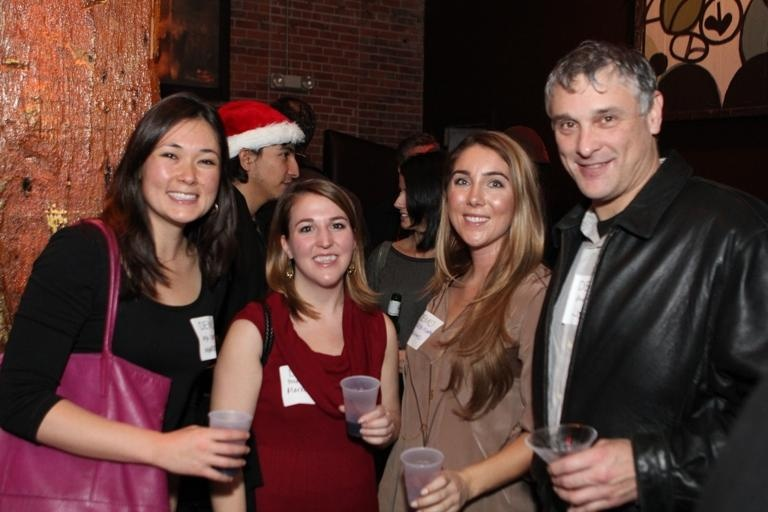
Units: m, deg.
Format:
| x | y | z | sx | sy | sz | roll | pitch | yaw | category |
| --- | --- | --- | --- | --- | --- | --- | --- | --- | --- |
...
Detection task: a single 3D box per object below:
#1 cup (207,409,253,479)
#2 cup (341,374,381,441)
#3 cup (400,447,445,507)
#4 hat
| x | y | z | sx | sy | sz | roll | pitch | yaw | category |
| --- | --- | --- | --- | --- | --- | --- | --- | --- | --- |
| -0.550 | 0.693 | 2.307 | 0.196 | 0.221 | 0.199 | 4 | -3 | 0 | cup |
| -0.128 | 0.614 | 2.572 | 0.199 | 0.253 | 0.210 | 0 | 2 | 0 | cup |
| 0.138 | 0.815 | 2.281 | 0.126 | 0.218 | 0.096 | 11 | 17 | 33 | cup |
| -0.810 | -0.832 | 3.948 | 0.591 | 0.339 | 0.456 | -2 | 19 | 4 | hat |
